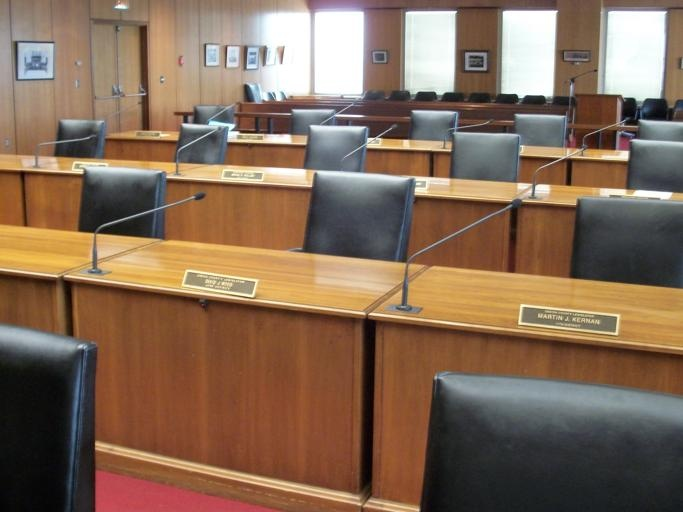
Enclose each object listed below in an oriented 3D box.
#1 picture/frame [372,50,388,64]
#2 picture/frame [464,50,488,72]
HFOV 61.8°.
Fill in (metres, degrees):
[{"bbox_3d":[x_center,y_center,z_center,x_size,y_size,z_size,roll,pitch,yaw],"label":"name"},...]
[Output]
[{"bbox_3d":[1.024,-5.282,15.159,0.330,0.306,0.037,2,2,10],"label":"picture/frame"},{"bbox_3d":[3.427,-4.928,14.441,0.529,0.483,0.042,3,5,13],"label":"picture/frame"}]
